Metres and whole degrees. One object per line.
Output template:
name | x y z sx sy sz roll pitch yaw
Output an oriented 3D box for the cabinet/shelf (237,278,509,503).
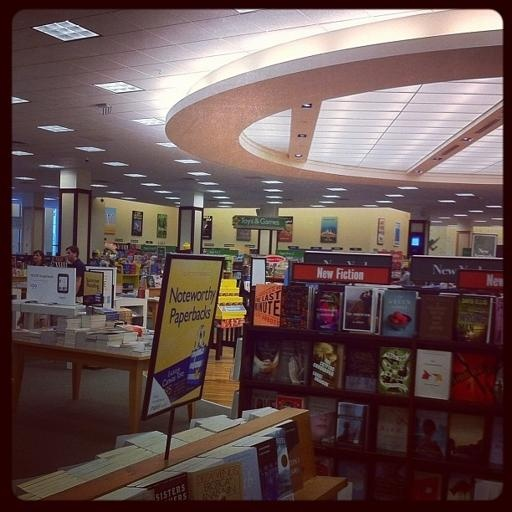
cabinet/shelf | 0.888 0.936 3.031 1.766 1.484 0.557 2 2 22
